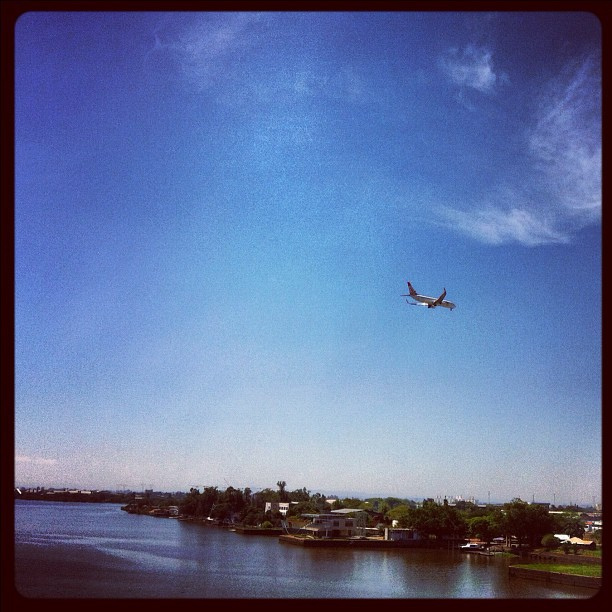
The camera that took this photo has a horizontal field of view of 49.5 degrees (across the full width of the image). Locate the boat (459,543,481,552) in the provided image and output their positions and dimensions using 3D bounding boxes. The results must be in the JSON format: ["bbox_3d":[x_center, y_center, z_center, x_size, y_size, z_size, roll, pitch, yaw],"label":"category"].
[{"bbox_3d":[4.371,6.437,17.566,0.336,0.171,0.222,1,-8,5],"label":"boat"}]
